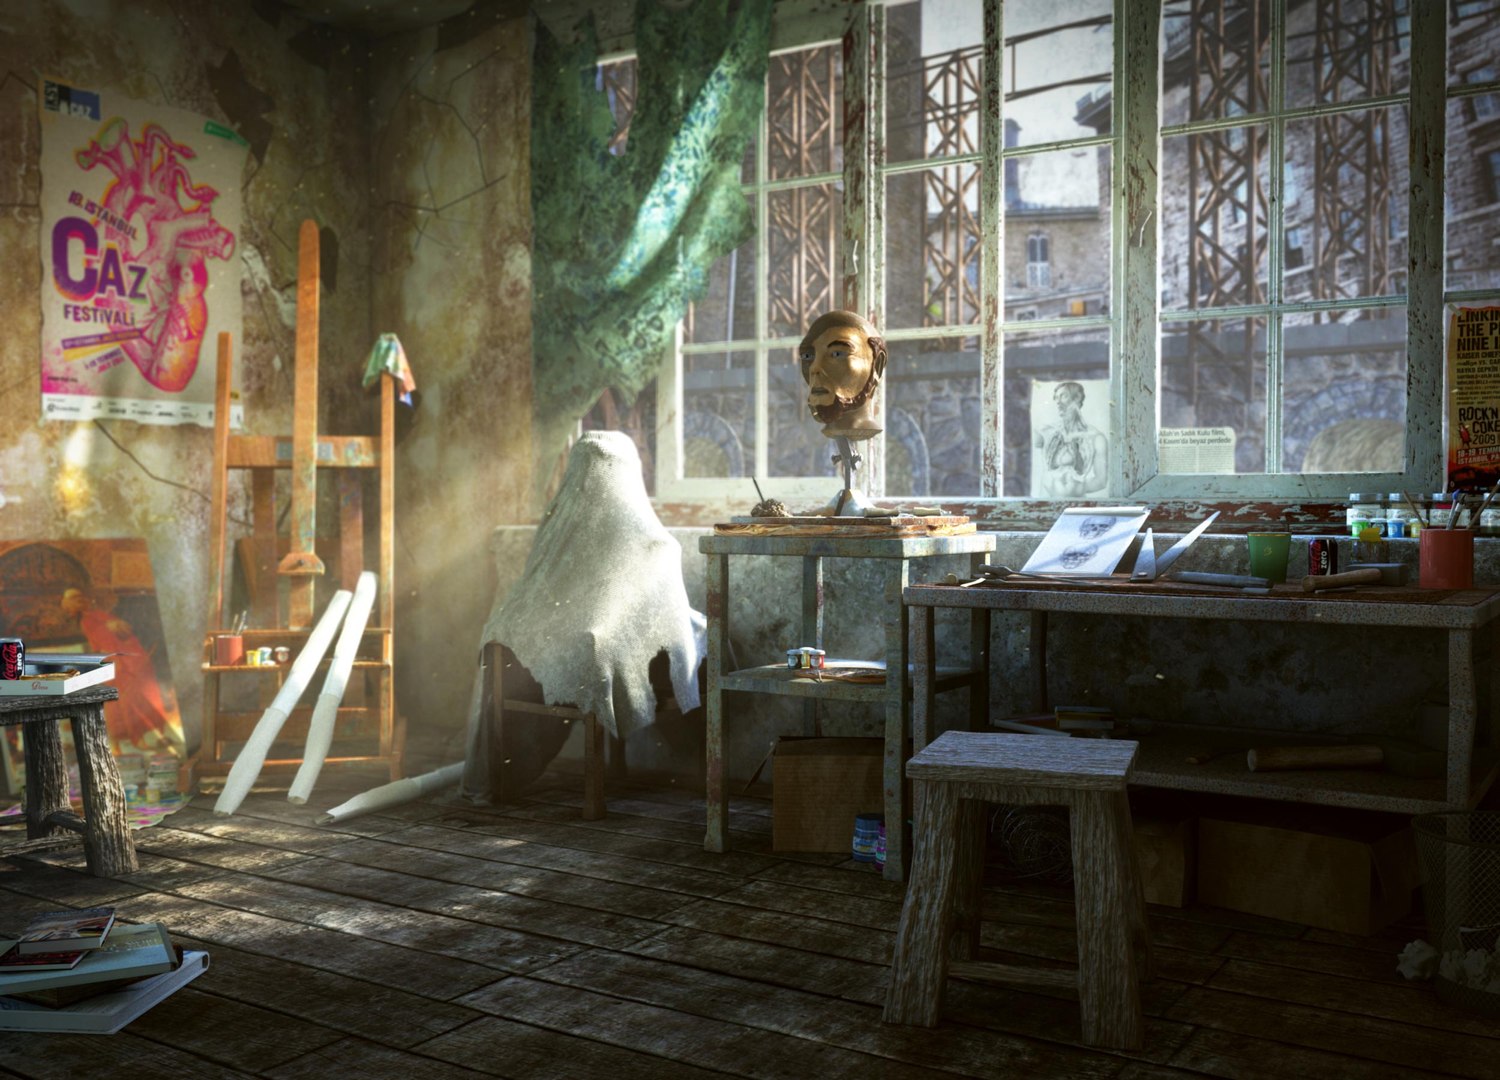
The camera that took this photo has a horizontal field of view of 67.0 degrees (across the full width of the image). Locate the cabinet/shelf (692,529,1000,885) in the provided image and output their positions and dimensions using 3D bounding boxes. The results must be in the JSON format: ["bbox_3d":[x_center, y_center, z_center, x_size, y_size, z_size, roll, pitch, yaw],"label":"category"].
[{"bbox_3d":[0.376,0.393,4.218,1.077,1.591,1.082,2,5,25],"label":"cabinet/shelf"}]

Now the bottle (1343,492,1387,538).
[{"bbox_3d":[1.996,-0.075,3.695,0.129,0.138,0.126,-2,3,-34],"label":"bottle"}]

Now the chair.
[{"bbox_3d":[-0.614,0.440,4.447,0.752,1.169,0.692,5,9,33],"label":"chair"}]

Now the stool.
[{"bbox_3d":[0.740,0.846,3.069,0.669,0.653,0.680,1,0,17],"label":"stool"}]

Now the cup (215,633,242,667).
[{"bbox_3d":[-2.133,0.451,4.694,0.125,0.112,0.081,1,0,-10],"label":"cup"}]

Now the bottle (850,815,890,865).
[{"bbox_3d":[0.389,1.003,3.778,0.129,0.128,0.039,2,-3,26],"label":"bottle"}]

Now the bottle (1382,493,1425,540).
[{"bbox_3d":[2.105,-0.083,3.718,0.141,0.161,0.144,2,7,13],"label":"bottle"}]

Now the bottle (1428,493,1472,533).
[{"bbox_3d":[2.143,-0.079,3.498,0.128,0.128,0.129,0,3,-41],"label":"bottle"}]

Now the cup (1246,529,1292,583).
[{"bbox_3d":[1.566,0.047,3.460,0.152,0.176,0.155,0,4,0],"label":"cup"}]
